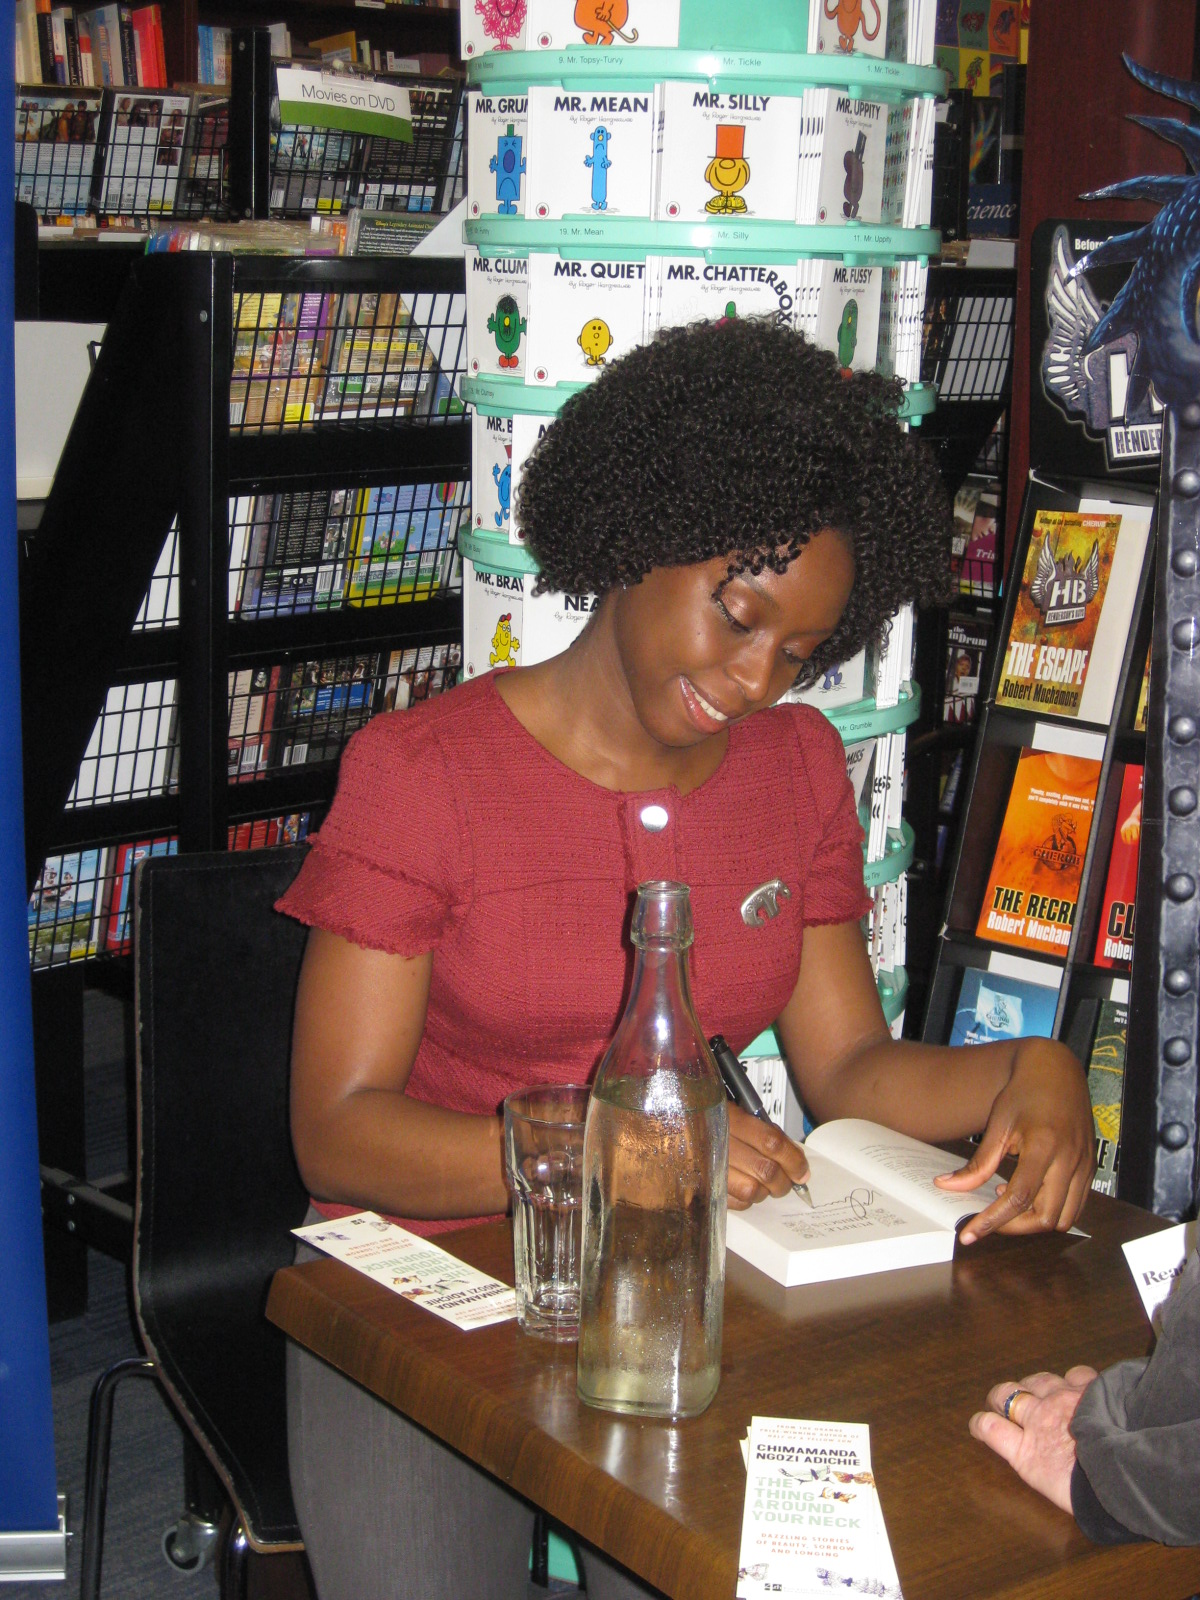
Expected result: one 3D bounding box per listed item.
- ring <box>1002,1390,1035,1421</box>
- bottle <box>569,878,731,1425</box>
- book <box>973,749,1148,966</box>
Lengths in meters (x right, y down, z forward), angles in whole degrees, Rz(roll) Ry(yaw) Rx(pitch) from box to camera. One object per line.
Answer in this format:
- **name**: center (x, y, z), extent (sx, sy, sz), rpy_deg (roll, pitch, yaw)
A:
- **ring**: center (0.209, 0.302, 0.689), extent (0.015, 0.005, 0.012), rpy_deg (-4, 3, 39)
- **bottle**: center (0.030, 0.173, 0.681), extent (0.079, 0.267, 0.064), rpy_deg (5, 5, 4)
- **book**: center (0.738, 0.073, 2.283), extent (0.404, 0.352, 0.082), rpy_deg (7, -3, -31)
